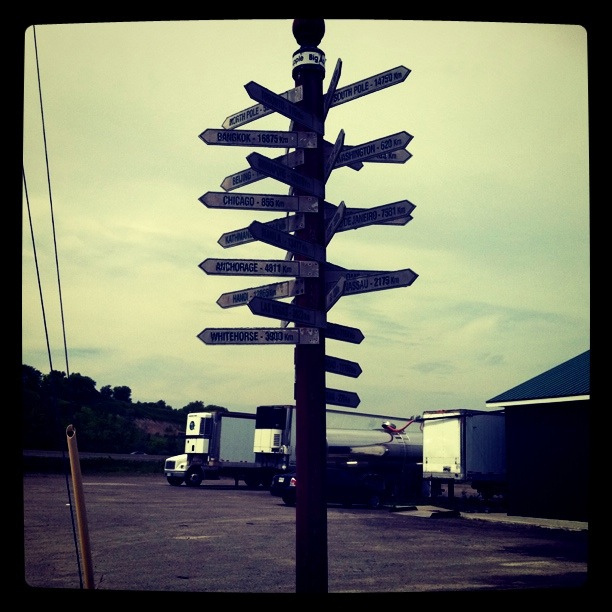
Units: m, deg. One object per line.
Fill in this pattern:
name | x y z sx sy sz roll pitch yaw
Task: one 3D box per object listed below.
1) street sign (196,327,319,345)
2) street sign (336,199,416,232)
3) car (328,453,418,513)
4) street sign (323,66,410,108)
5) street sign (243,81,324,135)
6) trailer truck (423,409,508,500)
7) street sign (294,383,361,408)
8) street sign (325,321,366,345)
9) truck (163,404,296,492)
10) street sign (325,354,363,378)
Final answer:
street sign | -0.492 0.296 10.340 1.254 0.190 0.110 2 -4 -3
street sign | 0.796 -0.995 10.992 0.796 0.351 0.308 1 -4 9
car | 1.711 4.568 26.631 2.812 1.426 0.984 5 -6 -41
street sign | 0.639 -2.448 11.061 0.953 0.040 0.219 -18 -46 1
street sign | -0.224 -2.104 10.514 0.845 0.464 0.253 2 -4 -6
trailer truck | 4.378 3.936 26.641 1.353 2.272 2.542 -7 -12 39
street sign | 0.139 0.876 9.832 0.102 0.202 0.898 -13 -21 36
street sign | 0.405 0.286 10.838 0.110 0.187 0.642 -2 -5 37
truck | -2.386 4.676 32.884 2.549 2.993 6.136 5 -6 -44
street sign | 0.381 0.645 10.815 0.241 0.202 0.634 -1 -5 26
